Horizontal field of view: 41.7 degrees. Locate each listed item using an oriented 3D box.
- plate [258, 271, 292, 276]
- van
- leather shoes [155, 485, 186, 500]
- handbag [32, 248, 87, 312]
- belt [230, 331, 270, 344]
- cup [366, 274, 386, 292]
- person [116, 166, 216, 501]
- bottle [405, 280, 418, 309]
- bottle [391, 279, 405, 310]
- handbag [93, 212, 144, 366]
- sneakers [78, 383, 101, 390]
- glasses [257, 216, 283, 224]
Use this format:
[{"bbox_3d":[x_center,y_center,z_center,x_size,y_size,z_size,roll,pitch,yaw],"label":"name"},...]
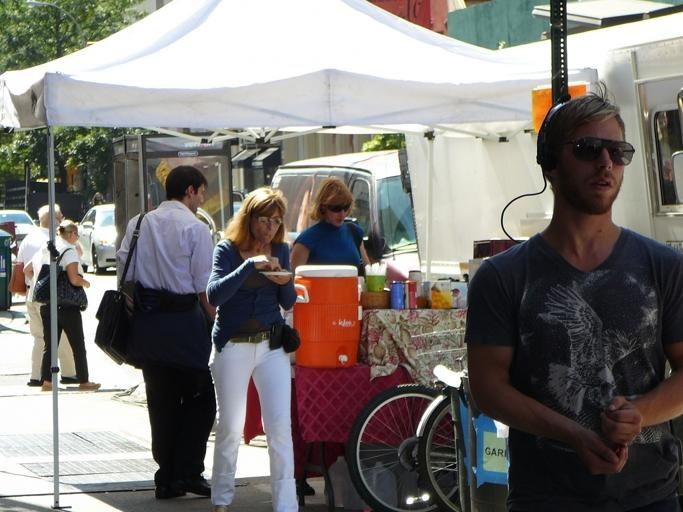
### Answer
[{"bbox_3d":[-0.402,0.105,5.697,0.242,0.035,0.162,-1,-1,-26],"label":"plate"},{"bbox_3d":[0.048,-0.618,10.724,1.066,1.123,1.819,0,0,-25],"label":"van"},{"bbox_3d":[-1.297,1.771,6.801,0.234,0.115,0.084,0,-1,-18],"label":"leather shoes"},{"bbox_3d":[-3.096,0.271,9.781,0.276,0.658,0.631,-6,-12,31],"label":"handbag"},{"bbox_3d":[-0.591,0.521,5.796,0.249,0.081,0.047,-1,-1,-5],"label":"belt"},{"bbox_3d":[0.253,0.192,6.547,0.110,0.095,0.109,0,-3,0],"label":"cup"},{"bbox_3d":[-1.299,0.557,6.881,0.758,2.531,0.817,0,-3,14],"label":"person"},{"bbox_3d":[0.501,0.281,6.470,0.063,0.186,0.175,0,1,-5],"label":"bottle"},{"bbox_3d":[0.406,0.280,6.447,0.112,0.195,0.130,-1,-1,3],"label":"bottle"},{"bbox_3d":[-1.640,0.241,6.618,0.355,1.108,0.264,-1,-1,-18],"label":"handbag"},{"bbox_3d":[-3.022,1.551,10.721,0.115,0.049,0.120,-5,-1,7],"label":"sneakers"},{"bbox_3d":[-0.445,-0.233,5.877,0.098,0.057,0.260,-2,-1,26],"label":"glasses"}]
